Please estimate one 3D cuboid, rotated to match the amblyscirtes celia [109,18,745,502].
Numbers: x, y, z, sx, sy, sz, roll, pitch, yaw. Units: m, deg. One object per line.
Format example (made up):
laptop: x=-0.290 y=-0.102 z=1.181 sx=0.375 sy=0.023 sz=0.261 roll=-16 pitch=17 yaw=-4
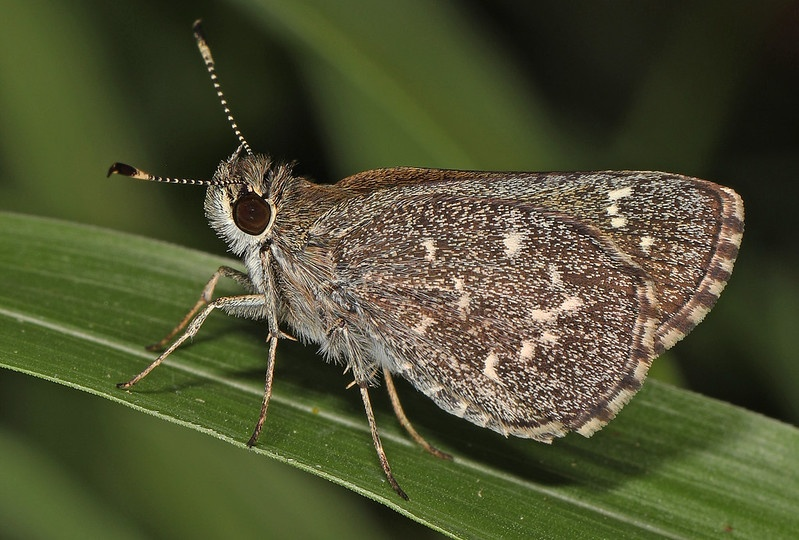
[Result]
amblyscirtes celia: x=0.554 y=0.156 z=6.283 sx=5.455 sy=2.961 sz=2.608 roll=24 pitch=-5 yaw=1
